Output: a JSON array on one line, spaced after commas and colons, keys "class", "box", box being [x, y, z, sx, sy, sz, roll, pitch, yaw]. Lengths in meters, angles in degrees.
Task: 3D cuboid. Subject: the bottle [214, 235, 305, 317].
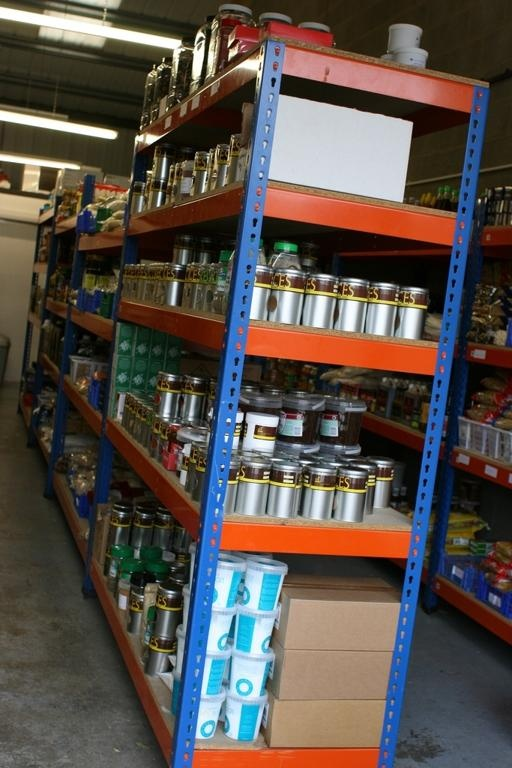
[{"class": "bottle", "box": [0.008, -0.258, 1.404, 0.192, 0.219, 0.195, 22, 25, 40]}]
